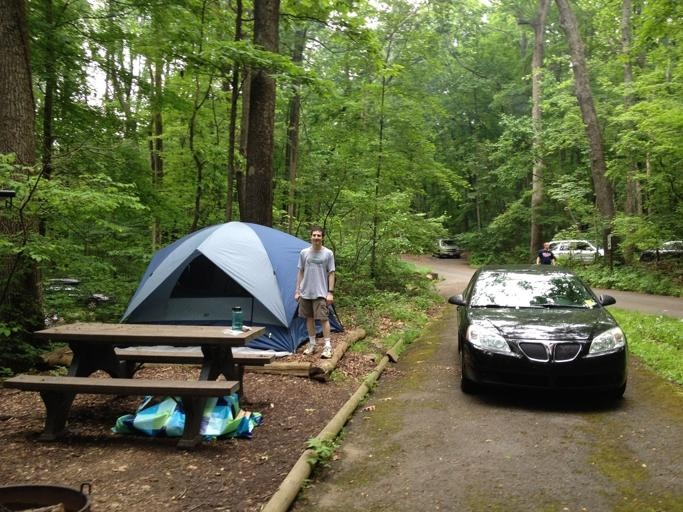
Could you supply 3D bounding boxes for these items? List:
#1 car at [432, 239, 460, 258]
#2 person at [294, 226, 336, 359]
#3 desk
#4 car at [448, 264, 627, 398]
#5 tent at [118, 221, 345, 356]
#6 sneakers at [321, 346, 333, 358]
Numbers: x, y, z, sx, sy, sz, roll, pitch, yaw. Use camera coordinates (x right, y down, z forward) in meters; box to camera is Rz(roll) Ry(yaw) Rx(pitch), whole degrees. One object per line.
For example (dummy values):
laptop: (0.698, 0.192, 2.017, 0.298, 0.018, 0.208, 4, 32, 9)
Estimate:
car: (6.379, -0.450, 35.326, 1.700, 1.158, 2.673, 0, -4, -13)
person: (-0.476, 0.615, 10.175, 0.654, 2.215, 0.576, 1, 6, 5)
desk: (-2.738, 1.897, 8.344, 2.294, 0.850, 1.803, 0, -5, 7)
car: (2.927, 1.140, 8.864, 2.272, 1.755, 1.960, 0, 5, -4)
tent: (-2.197, 0.502, 11.108, 3.425, 1.276, 2.709, 1, 4, 9)
sneakers: (-0.242, 1.631, 10.150, 0.199, 0.194, 0.360, 0, 4, -1)
